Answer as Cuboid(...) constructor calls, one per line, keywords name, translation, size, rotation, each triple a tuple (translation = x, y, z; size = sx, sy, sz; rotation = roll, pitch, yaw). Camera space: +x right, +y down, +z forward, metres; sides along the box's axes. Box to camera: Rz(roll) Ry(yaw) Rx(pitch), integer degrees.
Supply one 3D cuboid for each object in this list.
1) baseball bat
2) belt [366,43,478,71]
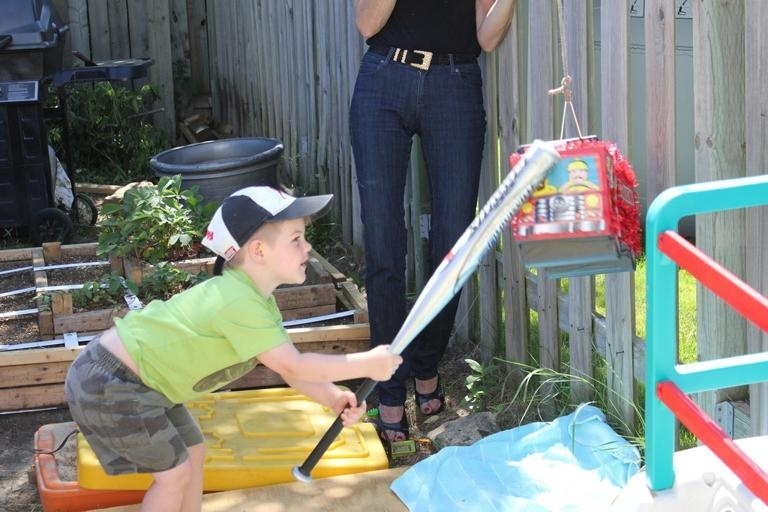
Cuboid(name="baseball bat", translation=(0.251, 0.306, 3.455), size=(0.196, 1.792, 0.170), rotation=(34, 6, 41))
Cuboid(name="belt", translation=(0.201, -0.976, 3.524), size=(0.506, 0.136, 0.118), rotation=(-6, 12, 0))
